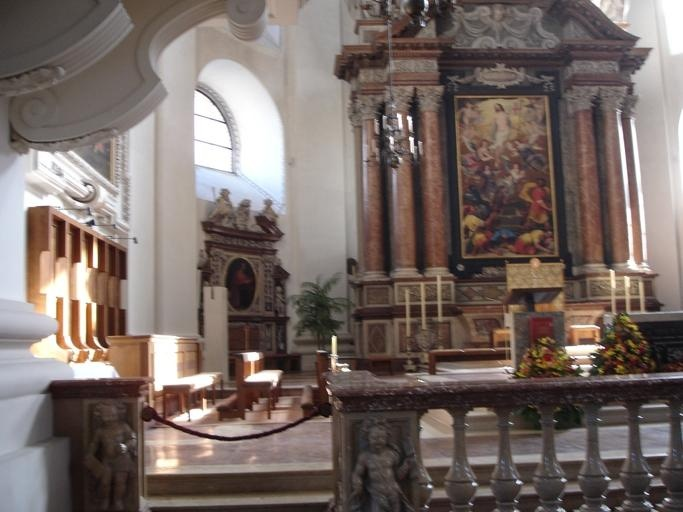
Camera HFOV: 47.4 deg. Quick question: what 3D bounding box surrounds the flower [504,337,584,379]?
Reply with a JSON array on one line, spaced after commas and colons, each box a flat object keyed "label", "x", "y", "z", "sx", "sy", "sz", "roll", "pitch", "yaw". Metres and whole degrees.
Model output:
[{"label": "flower", "x": 2.120, "y": 0.975, "z": 8.279, "sx": 0.682, "sy": 0.410, "sz": 0.651, "roll": -3, "pitch": -3, "yaw": -12}]

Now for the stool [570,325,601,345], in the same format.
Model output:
[{"label": "stool", "x": 3.720, "y": 1.195, "z": 12.018, "sx": 0.451, "sy": 0.248, "sz": 0.420, "roll": 0, "pitch": 0, "yaw": 7}]

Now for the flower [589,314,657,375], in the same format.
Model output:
[{"label": "flower", "x": 2.985, "y": 0.967, "z": 8.217, "sx": 0.753, "sy": 0.797, "sz": 0.751, "roll": -4, "pitch": -19, "yaw": 22}]
